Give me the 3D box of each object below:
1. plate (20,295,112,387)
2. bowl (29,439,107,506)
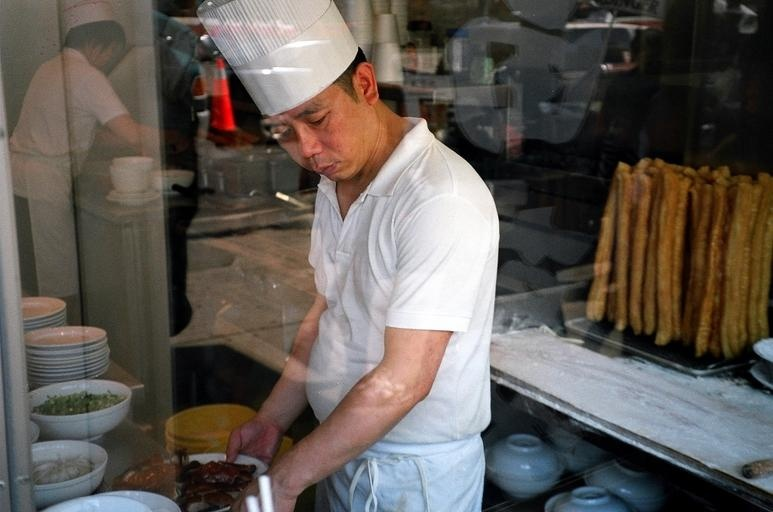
[{"bbox_3d":[-0.593,0.150,1.155,0.138,0.056,0.153,-1,11,-10],"label":"plate"},{"bbox_3d":[-0.557,0.364,1.103,0.113,0.048,0.106,1,-1,0],"label":"bowl"}]
